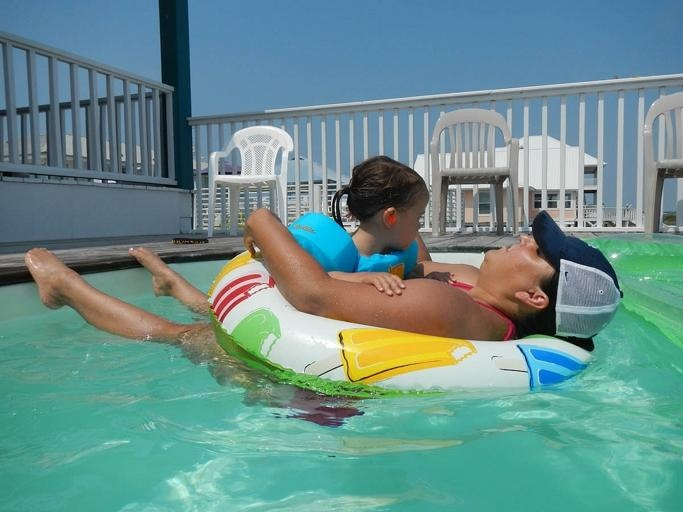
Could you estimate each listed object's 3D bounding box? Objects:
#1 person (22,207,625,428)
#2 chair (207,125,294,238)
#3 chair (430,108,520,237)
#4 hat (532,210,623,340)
[{"bbox_3d":[-0.086,0.153,1.940,1.866,0.577,0.942,10,2,18],"label":"person"},{"bbox_3d":[-0.937,-0.835,5.390,0.981,0.978,0.874,-6,15,-22],"label":"chair"},{"bbox_3d":[1.303,-0.872,4.935,0.966,1.114,0.943,4,8,31],"label":"chair"},{"bbox_3d":[0.790,0.049,1.801,0.297,0.423,0.313,-8,6,40],"label":"hat"}]
